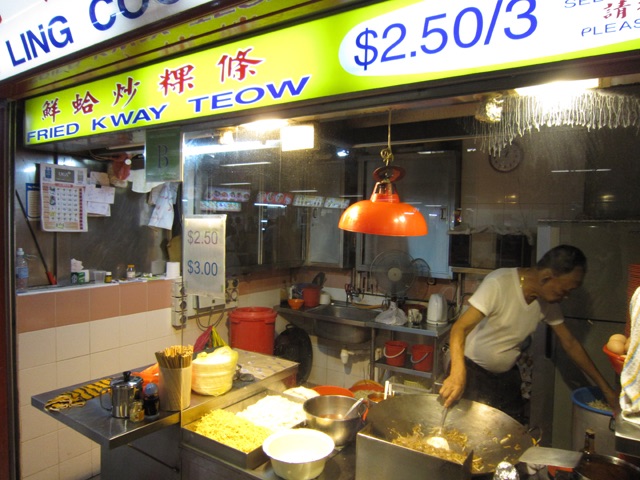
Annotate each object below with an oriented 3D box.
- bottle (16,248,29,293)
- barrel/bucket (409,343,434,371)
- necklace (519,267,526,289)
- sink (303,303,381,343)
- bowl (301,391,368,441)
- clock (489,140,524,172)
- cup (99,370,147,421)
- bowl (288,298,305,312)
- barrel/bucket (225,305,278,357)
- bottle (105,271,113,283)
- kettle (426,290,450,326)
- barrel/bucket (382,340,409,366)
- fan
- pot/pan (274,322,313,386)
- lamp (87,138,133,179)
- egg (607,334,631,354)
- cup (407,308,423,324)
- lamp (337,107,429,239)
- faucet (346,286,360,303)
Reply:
[{"bbox_3d":[-1.980,0.183,3.353,0.061,0.260,0.153,-3,5,-24],"label":"bottle"},{"bbox_3d":[0.497,0.565,2.506,0.129,0.101,0.129,-1,-1,0],"label":"barrel/bucket"},{"bbox_3d":[0.912,0.165,2.279,0.027,0.088,0.062,1,5,22],"label":"necklace"},{"bbox_3d":[0.132,0.438,2.719,0.267,0.170,0.356,-5,6,-42],"label":"sink"},{"bbox_3d":[0.070,0.787,2.324,0.203,0.130,0.209,2,-3,0],"label":"bowl"},{"bbox_3d":[0.745,-0.332,2.029,0.054,0.119,0.132,-4,6,-35],"label":"clock"},{"bbox_3d":[-0.941,0.731,2.479,0.245,0.214,0.178,-1,6,-31],"label":"cup"},{"bbox_3d":[-0.139,0.351,2.801,0.111,0.070,0.022,3,6,39],"label":"bowl"},{"bbox_3d":[-0.376,0.492,2.863,0.270,0.264,0.265,0,-1,0],"label":"barrel/bucket"},{"bbox_3d":[-1.564,0.280,3.760,0.065,0.096,0.067,0,-4,0],"label":"bottle"},{"bbox_3d":[0.603,0.359,2.602,0.104,0.177,0.180,1,2,4],"label":"kettle"},{"bbox_3d":[0.368,0.550,2.494,0.109,0.086,0.106,-1,2,0],"label":"barrel/bucket"},{"bbox_3d":[0.408,0.247,2.849,0.289,0.462,0.172,5,17,6],"label":"fan"},{"bbox_3d":[-0.132,0.621,2.836,0.101,0.291,0.290,6,-14,44],"label":"pot/pan"},{"bbox_3d":[-1.545,-0.584,3.771,0.320,0.230,0.313,5,-5,-29],"label":"lamp"},{"bbox_3d":[1.086,0.378,1.833,0.067,0.060,0.087,0,5,6],"label":"egg"},{"bbox_3d":[0.490,0.394,2.627,0.099,0.088,0.051,-2,5,-17],"label":"cup"},{"bbox_3d":[0.288,-0.283,2.301,0.459,0.631,0.470,3,1,21],"label":"lamp"},{"bbox_3d":[0.176,0.295,2.755,0.102,0.109,0.064,1,3,3],"label":"faucet"}]
